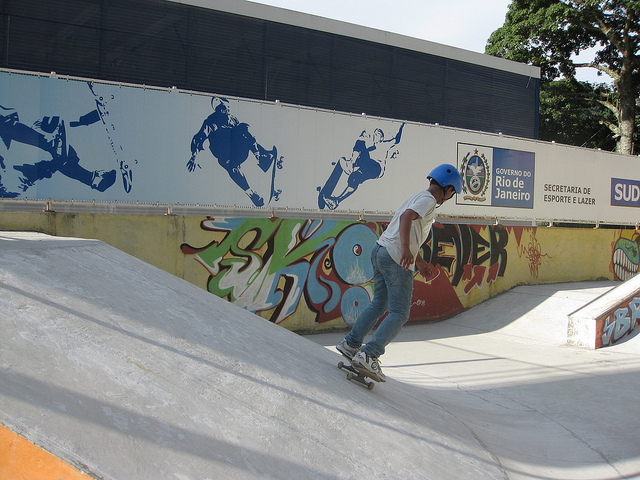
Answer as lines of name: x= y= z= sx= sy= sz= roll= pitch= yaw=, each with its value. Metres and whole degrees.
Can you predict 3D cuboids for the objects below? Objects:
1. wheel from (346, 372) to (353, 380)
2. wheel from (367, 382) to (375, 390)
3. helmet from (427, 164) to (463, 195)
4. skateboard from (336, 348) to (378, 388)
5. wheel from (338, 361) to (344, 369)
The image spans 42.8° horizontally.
wheel: x=0.427 y=1.933 z=11.625 sx=0.068 sy=0.147 sz=0.079 roll=3 pitch=-3 yaw=39
wheel: x=0.737 y=2.055 z=11.608 sx=0.139 sy=0.102 sz=0.064 roll=2 pitch=4 yaw=-43
helmet: x=1.864 y=-0.902 z=12.077 sx=0.450 sy=0.379 sz=0.365 roll=6 pitch=12 yaw=-16
skateboard: x=0.540 y=1.820 z=11.692 sx=0.365 sy=0.134 sz=0.367 roll=31 pitch=-3 yaw=-41
wheel: x=0.303 y=1.794 z=11.807 sx=0.091 sy=0.100 sz=0.084 roll=5 pitch=3 yaw=0
